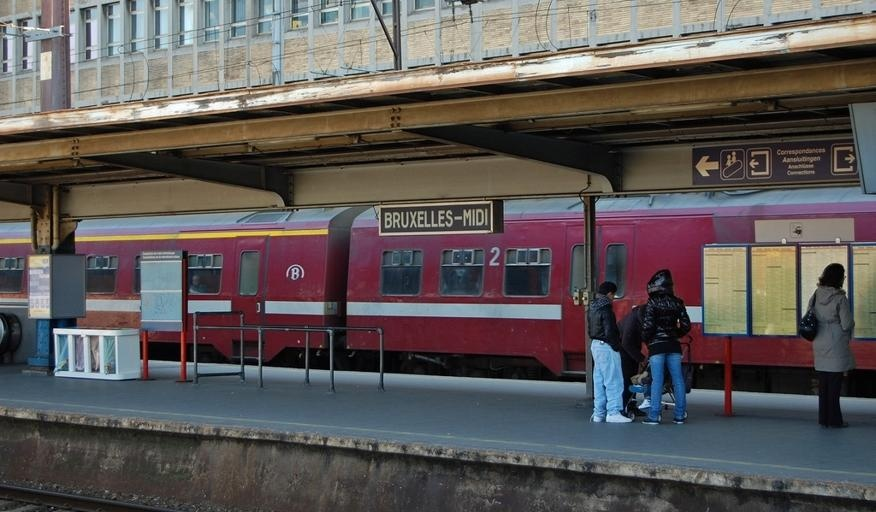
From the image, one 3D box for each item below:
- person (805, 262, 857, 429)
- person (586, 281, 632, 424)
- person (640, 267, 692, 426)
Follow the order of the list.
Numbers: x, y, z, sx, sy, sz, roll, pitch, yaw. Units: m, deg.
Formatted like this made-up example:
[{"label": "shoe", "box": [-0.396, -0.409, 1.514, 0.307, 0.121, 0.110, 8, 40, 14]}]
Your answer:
[{"label": "person", "box": [7.006, 1.569, 20.061, 0.729, 2.896, 0.403, -3, -5, 21]}, {"label": "person", "box": [3.092, 1.739, 20.480, 0.673, 2.540, 0.387, -1, -5, 6]}, {"label": "person", "box": [4.108, 1.628, 20.337, 0.783, 2.757, 0.789, -3, -6, 30]}]
